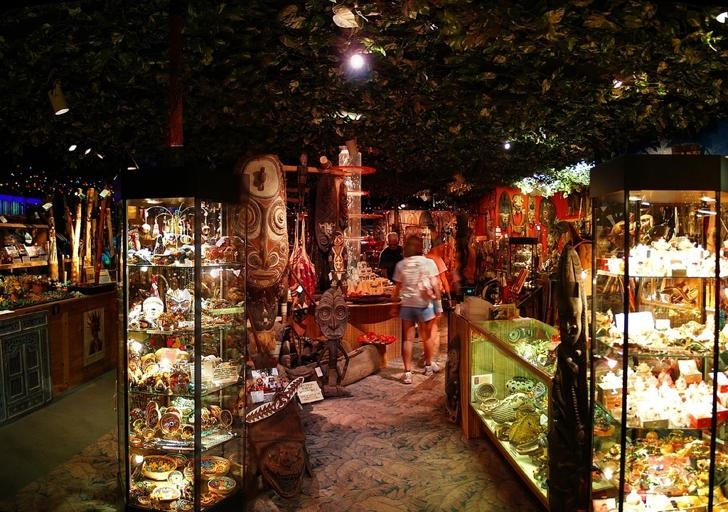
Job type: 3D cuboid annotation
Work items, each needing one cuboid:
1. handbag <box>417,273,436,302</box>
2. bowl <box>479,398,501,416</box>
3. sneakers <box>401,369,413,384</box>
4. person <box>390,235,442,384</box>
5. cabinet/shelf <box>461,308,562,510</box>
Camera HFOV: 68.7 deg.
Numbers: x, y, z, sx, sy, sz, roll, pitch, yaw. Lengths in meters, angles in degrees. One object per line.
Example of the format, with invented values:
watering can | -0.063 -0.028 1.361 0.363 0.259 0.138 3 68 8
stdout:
handbag | 0.859 0.430 7.229 0.250 0.364 0.070 -6 13 -28
bowl | 1.320 1.585 5.634 0.173 0.035 0.176 -8 9 1
sneakers | 0.596 1.709 7.543 0.136 0.166 0.376 -1 -9 2
person | 0.737 0.757 7.524 0.626 2.109 0.632 4 12 22
cabinet/shelf | 1.480 1.372 5.344 0.665 1.315 1.624 -2 11 -8
